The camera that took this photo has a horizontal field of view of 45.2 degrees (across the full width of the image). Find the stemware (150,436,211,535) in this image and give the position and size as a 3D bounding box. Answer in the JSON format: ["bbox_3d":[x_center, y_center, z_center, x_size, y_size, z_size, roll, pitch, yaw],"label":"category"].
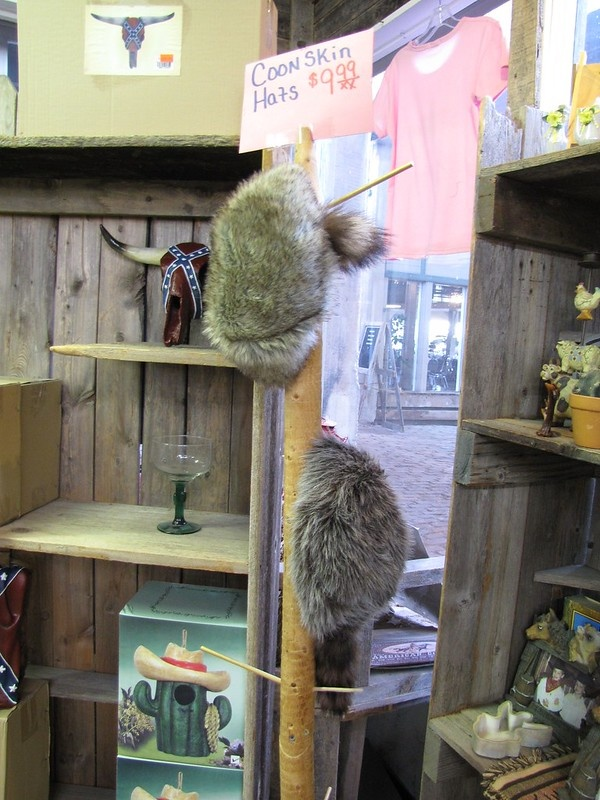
[{"bbox_3d":[-0.269,0.183,1.635,0.122,0.195,0.188,2,8,-9],"label":"stemware"}]

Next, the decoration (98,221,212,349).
[{"bbox_3d":[-0.304,-0.250,1.601,0.186,0.243,0.377,-1,9,-27],"label":"decoration"}]

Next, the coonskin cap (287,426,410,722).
[{"bbox_3d":[0.058,0.240,1.083,0.184,0.376,0.166,3,3,-41],"label":"coonskin cap"}]

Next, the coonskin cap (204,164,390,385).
[{"bbox_3d":[-0.010,-0.180,1.058,0.266,0.318,0.153,5,9,7],"label":"coonskin cap"}]
